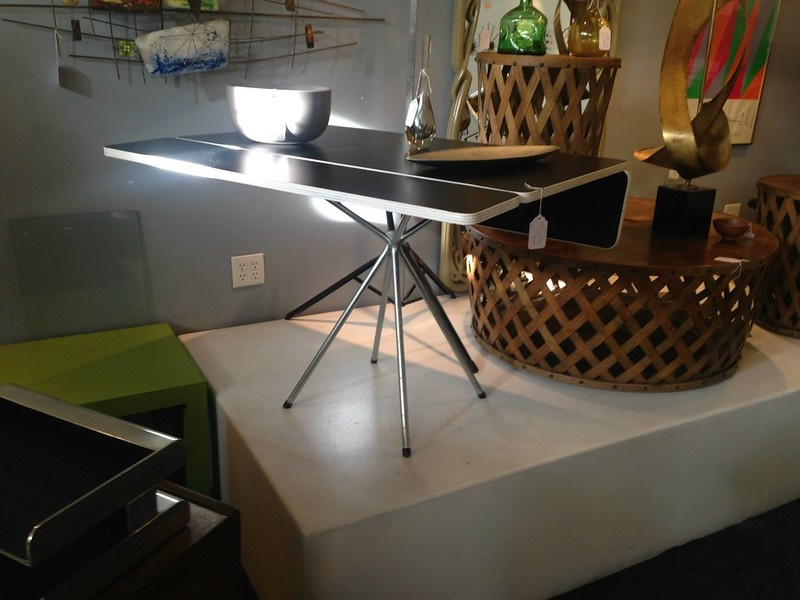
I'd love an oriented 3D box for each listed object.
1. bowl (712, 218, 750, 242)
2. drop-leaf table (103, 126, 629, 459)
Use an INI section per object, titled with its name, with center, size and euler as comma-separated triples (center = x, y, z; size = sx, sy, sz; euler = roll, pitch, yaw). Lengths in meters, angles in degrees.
[bowl]
center = 1.106, -0.260, 2.046
size = 0.090, 0.044, 0.095
euler = -3, 22, 1
[drop-leaf table]
center = -0.087, -0.077, 1.805
size = 1.295, 0.729, 0.781
euler = 13, 25, 23
